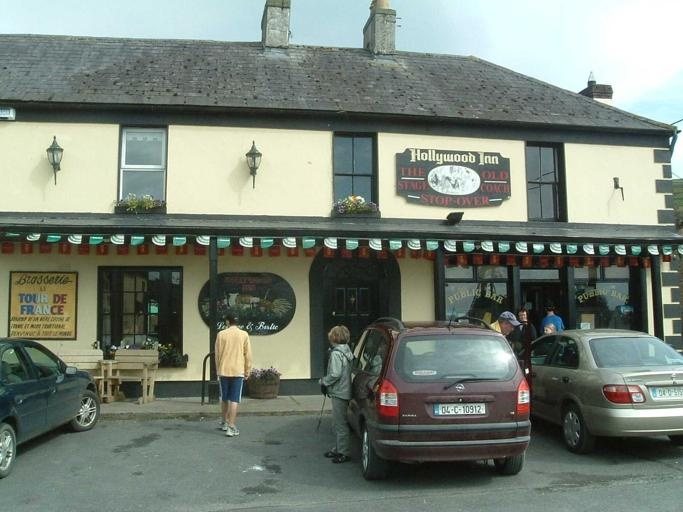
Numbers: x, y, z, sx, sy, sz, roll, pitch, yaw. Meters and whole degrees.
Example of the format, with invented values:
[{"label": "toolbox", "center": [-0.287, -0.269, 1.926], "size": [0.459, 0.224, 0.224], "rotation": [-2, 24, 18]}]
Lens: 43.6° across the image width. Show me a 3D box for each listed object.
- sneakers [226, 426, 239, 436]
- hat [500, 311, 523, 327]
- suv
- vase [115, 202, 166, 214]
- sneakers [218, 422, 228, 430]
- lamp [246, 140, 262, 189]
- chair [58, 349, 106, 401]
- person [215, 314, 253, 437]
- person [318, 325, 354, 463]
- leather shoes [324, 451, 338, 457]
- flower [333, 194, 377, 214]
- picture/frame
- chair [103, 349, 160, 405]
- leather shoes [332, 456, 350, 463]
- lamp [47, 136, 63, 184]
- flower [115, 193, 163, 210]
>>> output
[{"label": "sneakers", "center": [-2.005, 3.216, 15.740], "size": [0.118, 0.139, 0.306], "rotation": [0, -3, 14]}, {"label": "hat", "center": [3.261, 1.227, 16.608], "size": [0.437, 0.231, 0.276], "rotation": [5, 5, 2]}, {"label": "suv", "center": [1.561, 2.294, 13.697], "size": [2.728, 2.512, 1.293], "rotation": [-1, -2, 1]}, {"label": "vase", "center": [-4.398, -1.065, 18.719], "size": [1.076, 0.299, 0.148], "rotation": [0, -2, -8]}, {"label": "sneakers", "center": [-2.202, 3.186, 15.960], "size": [0.170, 0.126, 0.172], "rotation": [5, -8, -27]}, {"label": "lamp", "center": [-1.949, -2.048, 19.016], "size": [0.362, 1.061, 0.345], "rotation": [0, 0, 9]}, {"label": "chair", "center": [-5.357, 2.519, 18.140], "size": [1.124, 1.390, 0.980], "rotation": [0, -8, -9]}, {"label": "person", "center": [-2.032, 2.196, 15.944], "size": [0.604, 2.222, 0.571], "rotation": [0, -2, -26]}, {"label": "person", "center": [-0.071, 2.331, 14.482], "size": [0.528, 2.278, 0.640], "rotation": [-1, -2, 1]}, {"label": "leather shoes", "center": [-0.184, 3.374, 14.515], "size": [0.183, 0.072, 0.105], "rotation": [1, -2, 26]}, {"label": "flower", "center": [0.239, -1.123, 19.255], "size": [0.572, 0.251, 0.561], "rotation": [-1, 0, 39]}, {"label": "picture/frame", "center": [-6.542, 1.106, 18.574], "size": [1.526, 1.570, 0.070], "rotation": [0, -6, -8]}, {"label": "chair", "center": [-4.411, 2.488, 17.869], "size": [1.075, 0.996, 0.815], "rotation": [-1, -1, 8]}, {"label": "leather shoes", "center": [-0.009, 3.402, 14.326], "size": [0.286, 0.116, 0.113], "rotation": [3, -1, -15]}, {"label": "lamp", "center": [-6.246, -2.132, 18.633], "size": [0.364, 1.052, 0.320], "rotation": [0, -2, -15]}, {"label": "flower", "center": [-4.403, -1.144, 18.730], "size": [0.550, 0.224, 0.551], "rotation": [0, 0, 20]}]
